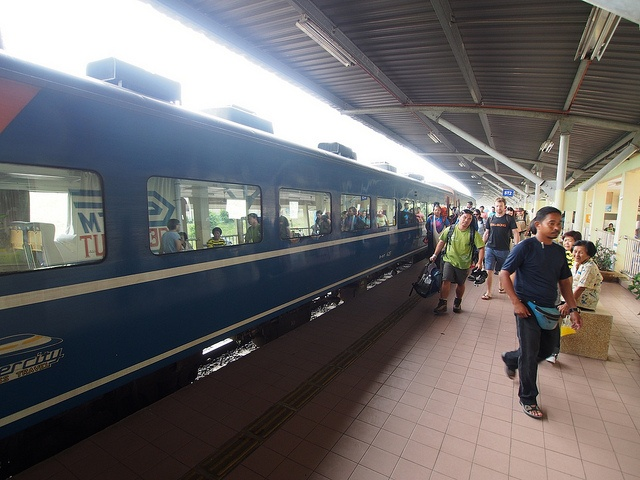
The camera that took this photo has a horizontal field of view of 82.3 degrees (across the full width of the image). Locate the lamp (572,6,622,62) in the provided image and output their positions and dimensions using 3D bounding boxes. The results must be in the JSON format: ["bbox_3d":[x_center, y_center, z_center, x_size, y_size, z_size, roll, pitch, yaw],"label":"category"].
[{"bbox_3d":[4.180,-3.120,5.536,0.353,0.642,1.423,8,17,29],"label":"lamp"}]

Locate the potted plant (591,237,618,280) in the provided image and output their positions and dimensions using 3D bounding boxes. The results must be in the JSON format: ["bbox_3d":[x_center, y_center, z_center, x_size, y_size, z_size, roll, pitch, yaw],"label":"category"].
[{"bbox_3d":[8.491,0.644,10.805,0.599,1.031,0.677,-2,-1,7],"label":"potted plant"}]

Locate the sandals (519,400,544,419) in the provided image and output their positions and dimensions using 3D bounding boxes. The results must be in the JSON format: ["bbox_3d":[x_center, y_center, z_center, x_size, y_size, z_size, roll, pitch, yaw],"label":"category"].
[{"bbox_3d":[2.482,1.974,4.251,0.237,0.112,0.184,4,16,13],"label":"sandals"}]

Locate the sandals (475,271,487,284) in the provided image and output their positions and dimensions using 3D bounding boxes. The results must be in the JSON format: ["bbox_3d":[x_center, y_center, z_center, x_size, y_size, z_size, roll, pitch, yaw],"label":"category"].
[{"bbox_3d":[3.494,0.819,7.928,0.107,0.296,0.210,43,-6,11],"label":"sandals"}]

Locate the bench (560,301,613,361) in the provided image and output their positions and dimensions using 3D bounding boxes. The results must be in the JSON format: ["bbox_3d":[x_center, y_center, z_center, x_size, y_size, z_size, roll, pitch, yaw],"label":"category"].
[{"bbox_3d":[3.994,1.371,5.570,0.686,0.577,0.536,12,-6,12],"label":"bench"}]

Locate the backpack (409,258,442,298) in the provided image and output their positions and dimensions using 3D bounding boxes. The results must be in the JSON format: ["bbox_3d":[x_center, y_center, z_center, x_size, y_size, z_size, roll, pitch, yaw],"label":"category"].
[{"bbox_3d":[2.342,0.882,8.197,0.448,0.706,0.759,22,10,-9],"label":"backpack"}]

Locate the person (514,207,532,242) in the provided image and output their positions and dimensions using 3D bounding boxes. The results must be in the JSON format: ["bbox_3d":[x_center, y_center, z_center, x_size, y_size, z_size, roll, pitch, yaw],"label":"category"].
[{"bbox_3d":[5.457,-0.461,9.885,0.472,1.247,1.066,0,0,26],"label":"person"}]

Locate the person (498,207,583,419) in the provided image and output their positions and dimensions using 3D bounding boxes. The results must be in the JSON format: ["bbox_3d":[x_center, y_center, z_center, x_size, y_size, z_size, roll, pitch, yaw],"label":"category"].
[{"bbox_3d":[2.566,0.787,4.338,0.836,2.349,0.697,-12,19,-35],"label":"person"}]

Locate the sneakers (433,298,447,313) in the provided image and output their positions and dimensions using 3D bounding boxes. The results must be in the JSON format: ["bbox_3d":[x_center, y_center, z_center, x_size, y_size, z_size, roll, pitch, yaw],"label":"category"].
[{"bbox_3d":[2.265,1.300,7.064,0.411,0.270,0.131,-1,-1,-43],"label":"sneakers"}]

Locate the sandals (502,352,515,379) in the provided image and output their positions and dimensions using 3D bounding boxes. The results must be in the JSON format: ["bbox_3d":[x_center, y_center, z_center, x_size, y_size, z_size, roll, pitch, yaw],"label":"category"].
[{"bbox_3d":[2.548,1.699,4.949,0.108,0.307,0.139,-1,11,26],"label":"sandals"}]

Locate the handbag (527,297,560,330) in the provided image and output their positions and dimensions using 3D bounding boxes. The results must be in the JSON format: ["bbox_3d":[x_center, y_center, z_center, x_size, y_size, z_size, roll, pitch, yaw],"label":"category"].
[{"bbox_3d":[2.584,0.843,4.198,0.275,0.135,0.325,15,17,-33],"label":"handbag"}]
